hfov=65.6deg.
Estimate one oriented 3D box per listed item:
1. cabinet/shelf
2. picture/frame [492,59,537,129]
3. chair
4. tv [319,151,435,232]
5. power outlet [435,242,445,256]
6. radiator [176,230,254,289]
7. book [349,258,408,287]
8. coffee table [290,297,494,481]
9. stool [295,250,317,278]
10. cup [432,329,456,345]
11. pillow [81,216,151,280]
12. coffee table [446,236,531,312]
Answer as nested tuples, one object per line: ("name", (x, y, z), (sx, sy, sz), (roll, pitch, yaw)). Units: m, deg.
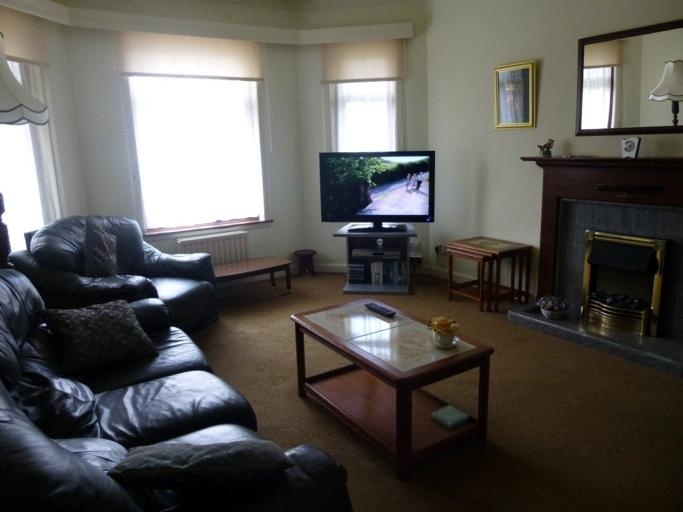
("cabinet/shelf", (0.383, 0.052, 5.643), (0.826, 0.606, 0.742), (1, 5, 10))
("picture/frame", (1.606, -1.474, 4.874), (0.053, 0.578, 0.444), (-12, 16, -35))
("chair", (-1.845, 0.196, 4.520), (1.518, 0.987, 1.531), (-5, 14, -20))
("tv", (0.373, -0.687, 5.574), (1.222, 0.872, 0.312), (0, 15, 5))
("power outlet", (1.113, -0.086, 5.970), (0.067, 0.124, 0.128), (-7, 13, -33))
("radiator", (-1.298, 0.020, 5.308), (0.586, 0.433, 0.078), (-10, 10, -38))
("book", (0.380, 0.172, 5.754), (0.434, 0.210, 0.331), (0, 5, 9))
("coffee table", (0.269, 0.755, 3.386), (0.745, 0.603, 1.221), (-10, 15, -30))
("stool", (-0.414, 0.077, 6.255), (0.275, 0.302, 0.291), (1, 11, 5))
("cup", (0.600, 0.470, 3.100), (0.090, 0.070, 0.095), (-2, 0, 0))
("pillow", (-1.939, -0.098, 4.469), (0.178, 0.472, 0.491), (-5, -4, 22))
("coffee table", (1.375, 0.147, 5.117), (0.644, 0.591, 0.729), (-9, 14, -28))
